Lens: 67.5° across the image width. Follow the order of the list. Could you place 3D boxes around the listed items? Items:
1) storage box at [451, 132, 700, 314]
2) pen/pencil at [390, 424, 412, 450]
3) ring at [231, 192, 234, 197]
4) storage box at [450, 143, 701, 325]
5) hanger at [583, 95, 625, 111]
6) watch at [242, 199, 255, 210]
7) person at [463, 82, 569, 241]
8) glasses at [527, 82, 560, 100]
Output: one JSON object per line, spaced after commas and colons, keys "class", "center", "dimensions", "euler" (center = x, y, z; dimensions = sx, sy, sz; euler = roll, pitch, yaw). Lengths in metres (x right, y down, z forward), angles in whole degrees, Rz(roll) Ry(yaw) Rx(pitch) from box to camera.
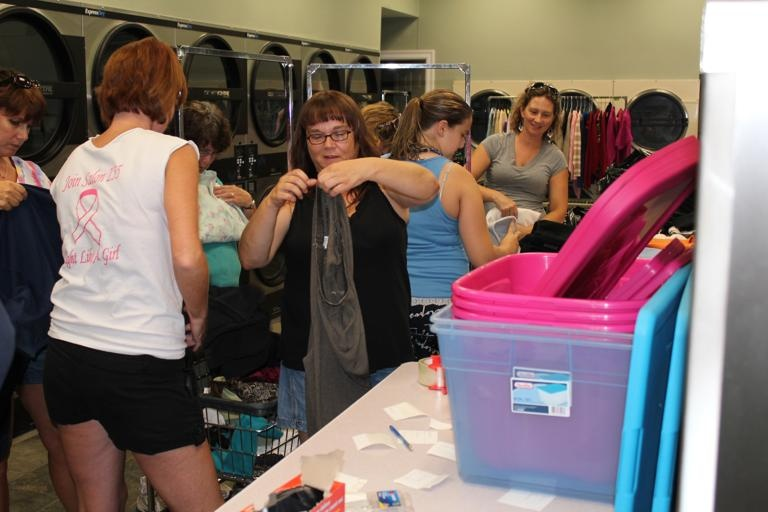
{"class": "storage box", "center": [0.417, -0.033, 1.241], "dimensions": [0.397, 0.338, 0.496], "euler": [-1, 7, 29]}
{"class": "pen/pencil", "center": [0.037, 0.461, 1.524], "dimensions": [0.019, 0.020, 0.139], "euler": [0, 19, -20]}
{"class": "ring", "center": [-0.763, -0.308, 2.900], "dimensions": [0.005, 0.017, 0.017], "euler": [-11, -1, 23]}
{"class": "storage box", "center": [0.454, -0.033, 1.338], "dimensions": [0.567, 0.382, 0.488], "euler": [-17, 16, -38]}
{"class": "hanger", "center": [3.079, -2.161, 8.110], "dimensions": [0.356, 0.225, 0.030], "euler": [1, 1, 19]}
{"class": "watch", "center": [-0.721, -0.270, 3.027], "dimensions": [0.067, 0.042, 0.052], "euler": [-12, 3, 26]}
{"class": "person", "center": [1.000, -0.667, 4.126], "dimensions": [0.689, 1.167, 0.635], "euler": [19, 21, 30]}
{"class": "glasses", "center": [1.131, -1.177, 4.146], "dimensions": [0.207, 0.118, 0.304], "euler": [1, 13, 14]}
